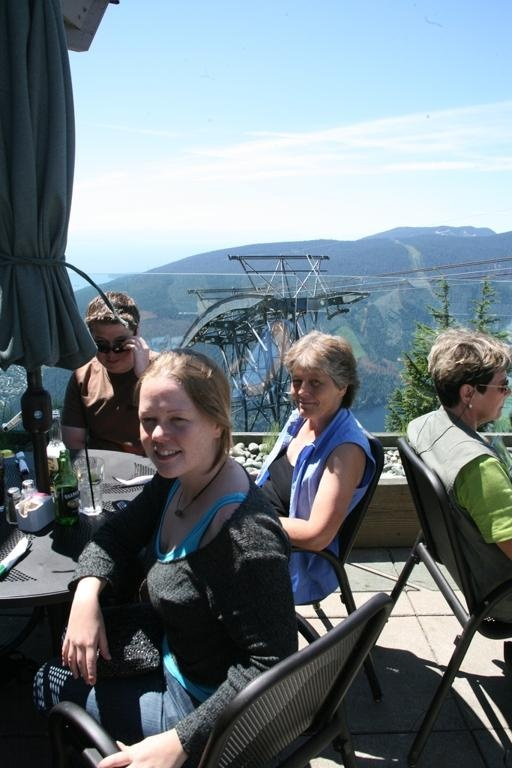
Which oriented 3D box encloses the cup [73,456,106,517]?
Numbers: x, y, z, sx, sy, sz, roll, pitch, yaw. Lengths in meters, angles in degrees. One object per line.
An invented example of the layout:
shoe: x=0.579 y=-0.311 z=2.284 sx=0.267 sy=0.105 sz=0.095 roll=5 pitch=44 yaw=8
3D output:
cup: x=-0.556 y=0.341 z=1.827 sx=0.114 sy=0.197 sz=0.121 roll=-2 pitch=1 yaw=0

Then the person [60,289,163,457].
person: x=-0.716 y=0.013 z=2.693 sx=0.499 sy=0.867 sz=0.479 roll=0 pitch=13 yaw=-16
